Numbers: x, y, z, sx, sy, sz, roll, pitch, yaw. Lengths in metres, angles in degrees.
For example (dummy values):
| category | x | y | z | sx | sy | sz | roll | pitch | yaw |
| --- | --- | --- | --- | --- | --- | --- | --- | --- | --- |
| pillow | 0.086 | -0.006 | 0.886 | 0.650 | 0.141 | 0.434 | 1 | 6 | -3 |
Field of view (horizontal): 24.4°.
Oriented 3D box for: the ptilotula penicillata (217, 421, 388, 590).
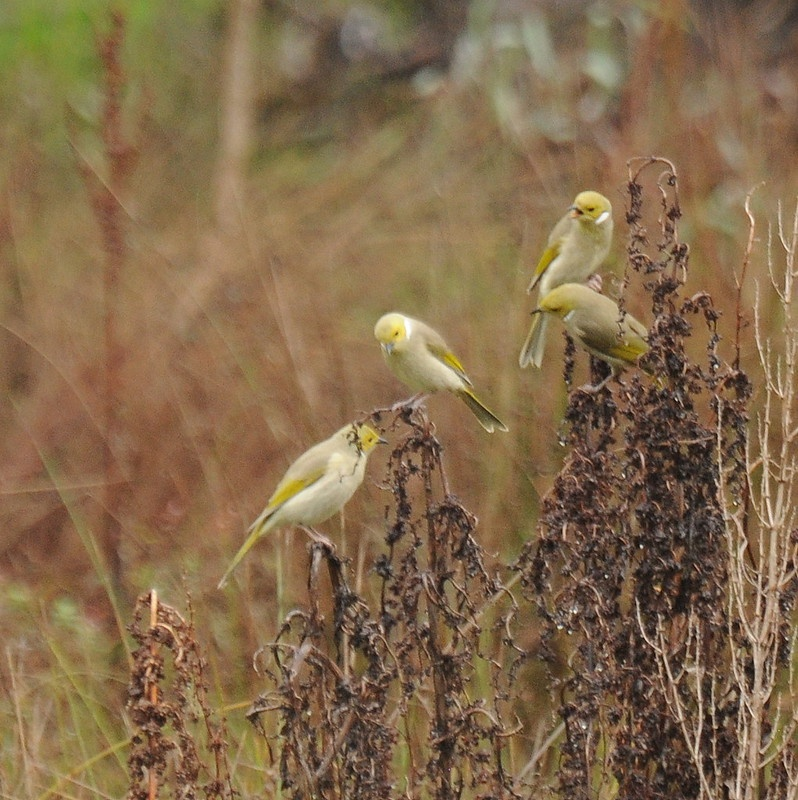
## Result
| category | x | y | z | sx | sy | sz | roll | pitch | yaw |
| --- | --- | --- | --- | --- | --- | --- | --- | --- | --- |
| ptilotula penicillata | -0.390 | 0.437 | 7.546 | 0.667 | 0.598 | 0.304 | -6 | -24 | 1 |

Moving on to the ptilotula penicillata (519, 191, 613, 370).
| category | x | y | z | sx | sy | sz | roll | pitch | yaw |
| --- | --- | --- | --- | --- | --- | --- | --- | --- | --- |
| ptilotula penicillata | 0.737 | -0.658 | 8.233 | 0.233 | 0.536 | 0.801 | -6 | 6 | -17 |
